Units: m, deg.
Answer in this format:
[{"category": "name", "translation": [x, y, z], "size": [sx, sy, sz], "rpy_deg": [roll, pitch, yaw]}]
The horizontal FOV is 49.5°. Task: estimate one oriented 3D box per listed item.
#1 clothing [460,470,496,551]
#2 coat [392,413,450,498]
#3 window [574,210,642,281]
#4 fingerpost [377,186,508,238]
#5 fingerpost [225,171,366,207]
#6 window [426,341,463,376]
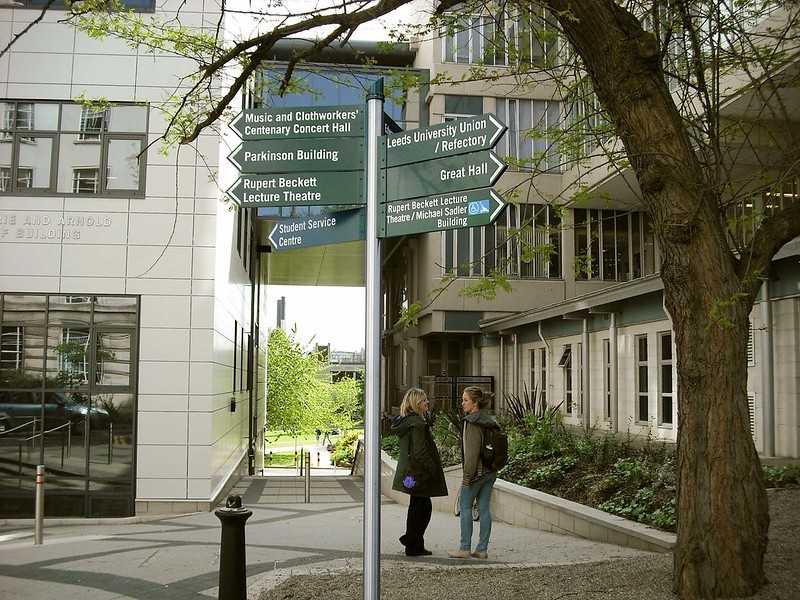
[{"category": "clothing", "translation": [1.038, 2.656, 11.817], "size": [0.467, 1.530, 0.413], "rpy_deg": [-3, 22, -10]}, {"category": "coat", "translation": [0.417, 2.143, 12.572], "size": [0.955, 1.349, 1.089], "rpy_deg": [0, -7, -7]}, {"category": "window", "translation": [6.714, -1.756, 28.023], "size": [2.696, 2.838, 0.105], "rpy_deg": [1, -3, -5]}, {"category": "fingerpost", "translation": [0.391, -0.801, 7.913], "size": [1.149, 0.395, 0.202], "rpy_deg": [-2, -7, 9]}, {"category": "fingerpost", "translation": [-0.960, -1.037, 8.163], "size": [1.317, 0.334, 0.160], "rpy_deg": [-2, -7, 11]}, {"category": "window", "translation": [1.658, 2.063, 32.263], "size": [1.175, 1.434, 0.119], "rpy_deg": [0, -12, 0]}]
